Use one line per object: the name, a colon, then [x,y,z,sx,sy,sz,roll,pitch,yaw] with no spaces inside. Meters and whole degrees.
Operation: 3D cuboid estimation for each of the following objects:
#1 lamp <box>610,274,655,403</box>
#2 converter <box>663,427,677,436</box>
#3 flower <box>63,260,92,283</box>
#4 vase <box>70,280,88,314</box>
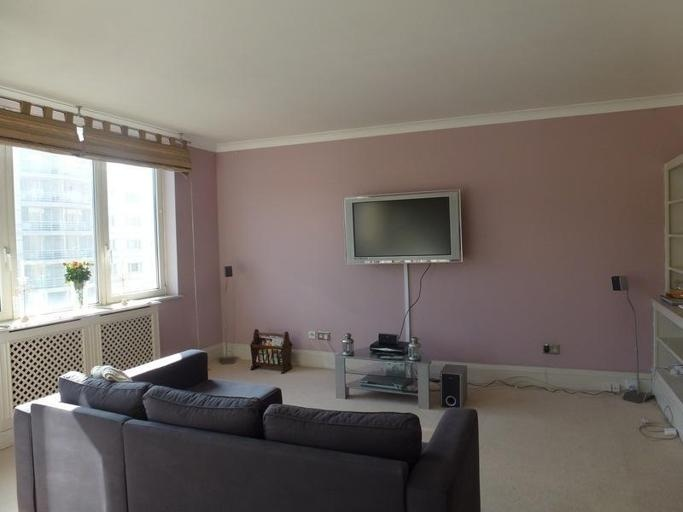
lamp: [2.853,0.777,5.083,0.317,1.177,0.480,-4,11,-10]
converter: [2.783,1.470,4.386,0.061,0.015,0.058,-3,13,13]
flower: [-2.629,0.161,5.189,0.236,0.207,0.207,-1,4,-39]
vase: [-2.671,0.375,5.298,0.128,0.302,0.253,-8,12,-27]
